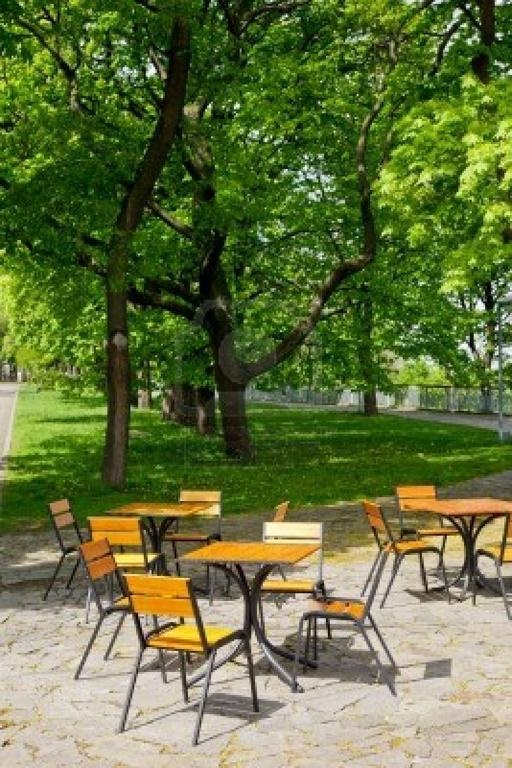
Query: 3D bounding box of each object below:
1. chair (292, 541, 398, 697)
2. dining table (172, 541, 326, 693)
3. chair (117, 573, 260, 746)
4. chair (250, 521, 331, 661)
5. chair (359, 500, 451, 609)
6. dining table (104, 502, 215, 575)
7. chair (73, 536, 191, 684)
[{"bbox_3d":[0.682,1.823,8.956,0.729,0.991,0.654,1,-5,7],"label":"chair"},{"bbox_3d":[-0.037,1.742,8.986,0.651,0.816,1.234,-4,-9,2],"label":"dining table"},{"bbox_3d":[-0.481,1.866,8.353,0.703,1.113,0.875,1,2,34],"label":"chair"},{"bbox_3d":[0.277,1.642,9.979,0.745,0.907,0.783,2,-4,-27],"label":"chair"},{"bbox_3d":[1.452,1.533,11.315,0.983,1.310,0.813,-1,-2,-8],"label":"chair"},{"bbox_3d":[-0.945,1.531,11.913,0.741,0.757,0.764,0,-2,9],"label":"dining table"},{"bbox_3d":[-1.164,1.715,9.742,0.989,1.377,0.831,5,-2,6],"label":"chair"}]
